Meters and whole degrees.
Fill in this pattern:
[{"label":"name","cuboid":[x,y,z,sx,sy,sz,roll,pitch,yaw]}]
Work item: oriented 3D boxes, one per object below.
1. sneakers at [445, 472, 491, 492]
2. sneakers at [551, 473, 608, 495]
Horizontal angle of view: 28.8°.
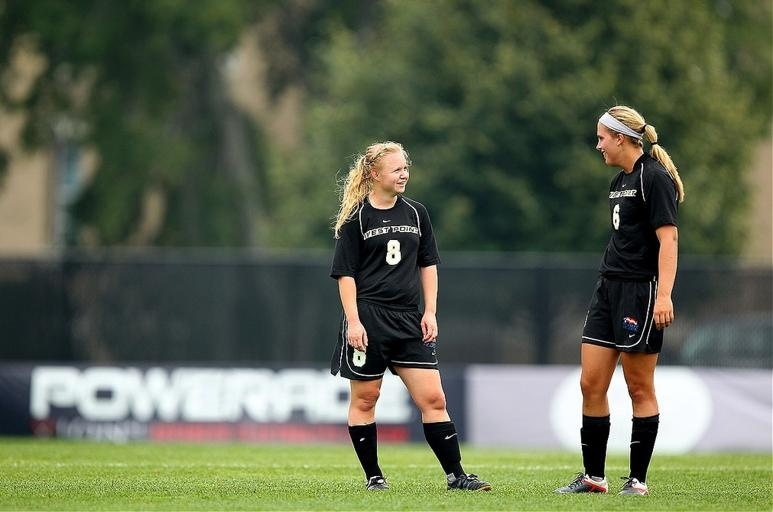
[{"label":"sneakers","cuboid":[0.917,2.480,16.582,0.393,0.168,0.208,-1,-7,8]},{"label":"sneakers","cuboid":[2.142,2.509,16.739,0.645,0.292,0.230,2,-5,0]}]
